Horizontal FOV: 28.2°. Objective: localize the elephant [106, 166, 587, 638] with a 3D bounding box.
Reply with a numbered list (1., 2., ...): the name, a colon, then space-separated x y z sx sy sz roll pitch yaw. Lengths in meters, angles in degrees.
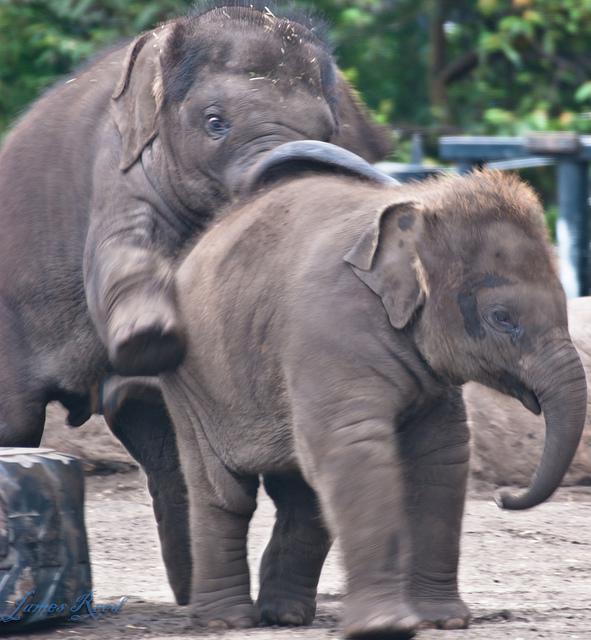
1. elephant: 0.124 0.236 2.740 0.818 1.141 0.968 -23 33 -32
